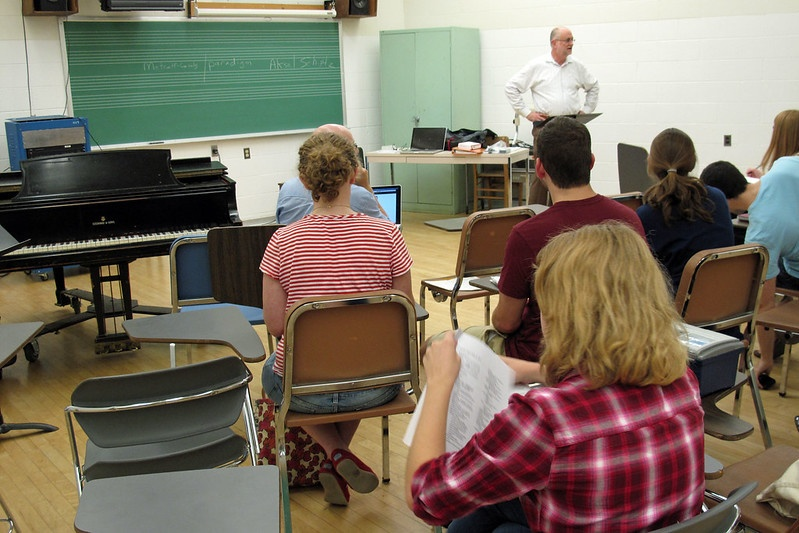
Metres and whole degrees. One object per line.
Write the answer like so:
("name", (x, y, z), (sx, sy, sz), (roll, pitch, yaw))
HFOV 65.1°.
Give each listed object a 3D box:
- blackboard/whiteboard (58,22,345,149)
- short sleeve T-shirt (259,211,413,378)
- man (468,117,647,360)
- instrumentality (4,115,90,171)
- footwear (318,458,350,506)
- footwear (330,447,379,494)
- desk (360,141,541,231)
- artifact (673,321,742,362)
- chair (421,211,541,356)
("blackboard/whiteboard", (-2.142, -2.316, 7.824), (3.250, 1.387, 0.085), (-13, 22, -32))
("short sleeve T-shirt", (-0.228, 0.095, 2.921), (0.735, 0.938, 0.551), (-3, 22, -8))
("man", (0.744, -0.092, 3.015), (0.869, 1.137, 0.892), (-3, 15, 12))
("instrumentality", (-3.106, -1.089, 5.545), (0.478, 0.584, 0.802), (7, 14, 44))
("footwear", (-0.295, 1.001, 2.921), (0.112, 0.265, 0.114), (-8, 40, 13))
("footwear", (-0.187, 0.892, 2.799), (0.130, 0.248, 0.107), (-44, 5, 6))
("desk", (0.582, -0.919, 7.533), (1.949, 1.049, 0.712), (-1, -1, -15))
("artifact", (1.156, 0.284, 2.370), (0.251, 0.071, 0.277), (-5, 12, -18))
("chair", (0.461, 0.117, 3.895), (0.696, 0.956, 0.682), (4, 15, 27))
